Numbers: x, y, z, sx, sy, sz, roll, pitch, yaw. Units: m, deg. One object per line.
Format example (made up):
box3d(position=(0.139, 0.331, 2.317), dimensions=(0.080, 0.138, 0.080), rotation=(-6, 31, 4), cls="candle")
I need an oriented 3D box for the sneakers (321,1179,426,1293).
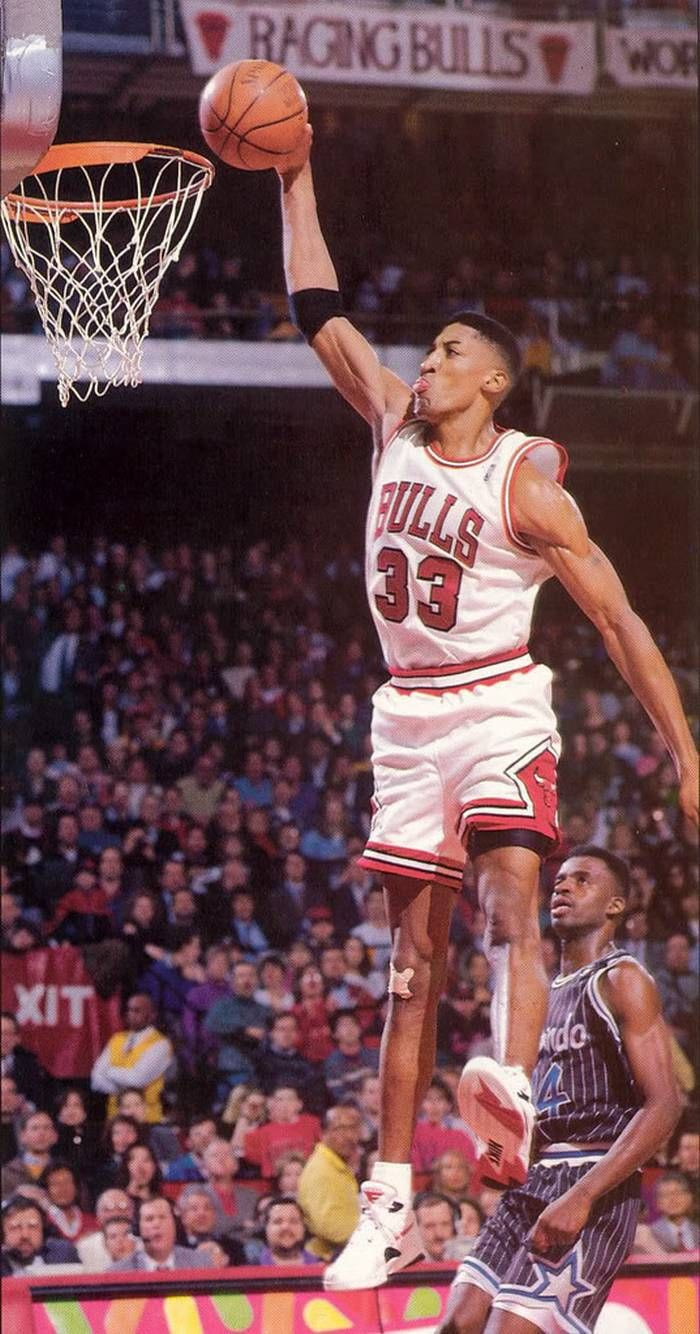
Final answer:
box3d(position=(0.029, 0.978, 2.228), dimensions=(0.079, 0.156, 0.228), rotation=(-10, -5, 44), cls="sneakers")
